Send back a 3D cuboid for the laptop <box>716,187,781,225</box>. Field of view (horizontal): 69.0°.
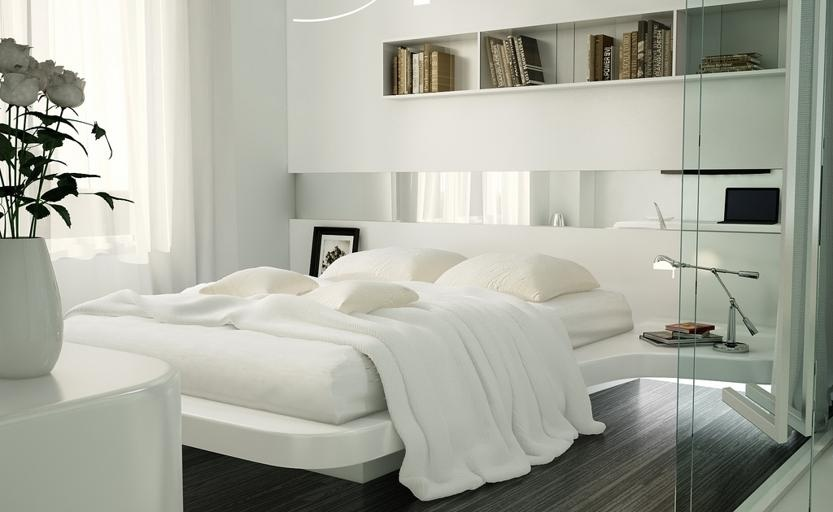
[{"bbox_3d":[1.079,-0.153,1.936,0.183,0.112,0.122,2,1,26],"label":"laptop"}]

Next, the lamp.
[{"bbox_3d":[0.980,0.161,2.023,0.079,0.285,0.284,-9,11,-39],"label":"lamp"}]

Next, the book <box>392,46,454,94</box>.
[{"bbox_3d":[0.070,-1.562,5.071,0.481,0.339,0.277,5,8,36],"label":"book"}]

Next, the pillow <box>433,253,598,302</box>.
[{"bbox_3d":[0.637,0.118,4.179,0.669,0.186,0.506,0,1,45],"label":"pillow"}]

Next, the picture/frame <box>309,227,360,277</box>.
[{"bbox_3d":[-0.717,-0.050,5.388,0.486,0.450,0.054,3,-3,38],"label":"picture/frame"}]
